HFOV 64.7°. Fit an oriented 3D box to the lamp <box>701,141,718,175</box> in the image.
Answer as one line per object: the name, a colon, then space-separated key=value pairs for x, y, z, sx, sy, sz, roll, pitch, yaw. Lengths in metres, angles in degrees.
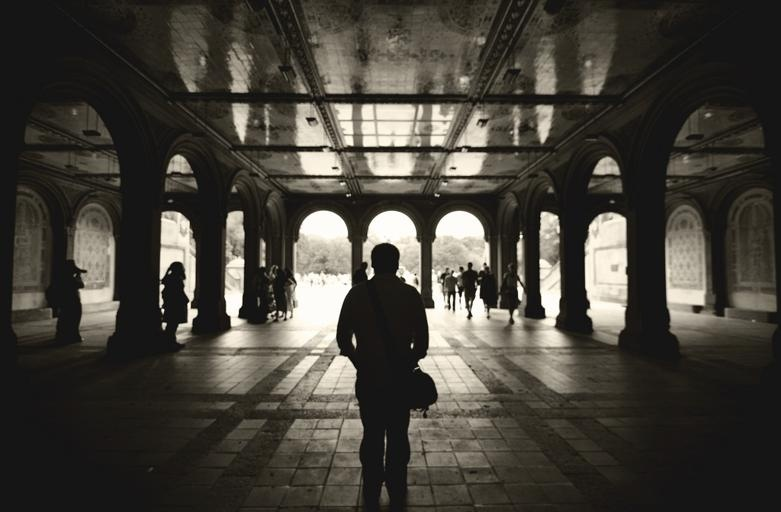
lamp: x=9.313 y=-2.890 z=18.030 sx=0.296 sy=0.523 sz=1.259 roll=-2 pitch=6 yaw=16

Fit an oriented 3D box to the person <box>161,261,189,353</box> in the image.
person: x=-5.208 y=1.181 z=14.841 sx=0.607 sy=2.085 sz=0.554 roll=1 pitch=-1 yaw=-20

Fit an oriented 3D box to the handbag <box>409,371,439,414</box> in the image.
handbag: x=0.459 y=1.992 z=9.083 sx=0.441 sy=0.576 sz=0.213 roll=-5 pitch=-3 yaw=-5

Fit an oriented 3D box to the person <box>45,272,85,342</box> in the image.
person: x=-8.097 y=1.253 z=15.310 sx=0.750 sy=1.872 sz=0.803 roll=1 pitch=-1 yaw=-28
